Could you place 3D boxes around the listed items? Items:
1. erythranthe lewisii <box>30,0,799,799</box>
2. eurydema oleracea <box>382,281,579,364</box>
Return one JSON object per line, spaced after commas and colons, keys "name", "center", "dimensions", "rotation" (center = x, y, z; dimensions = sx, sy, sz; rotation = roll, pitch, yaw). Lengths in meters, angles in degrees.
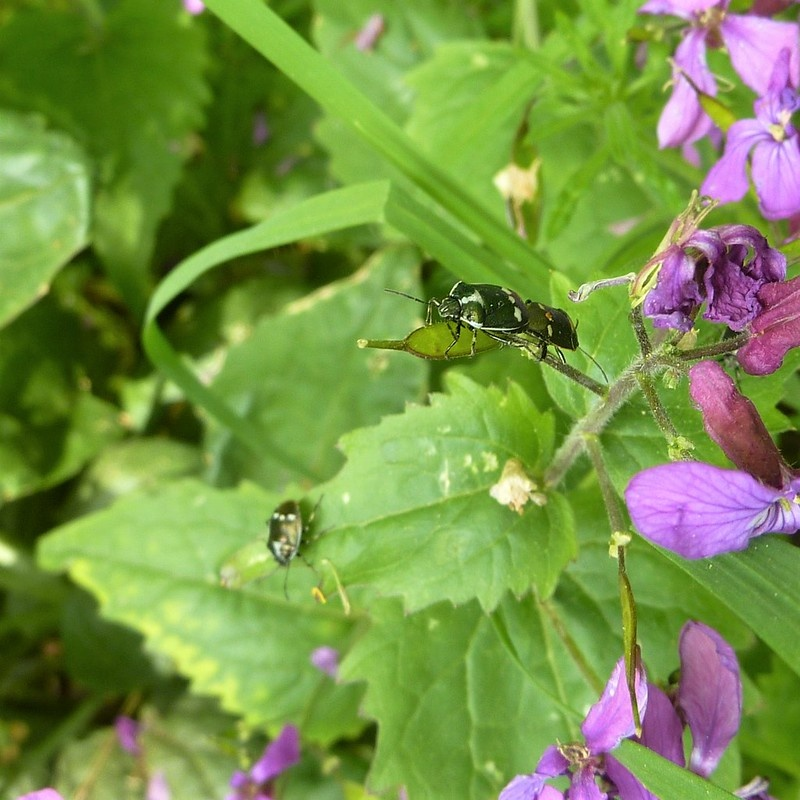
{"name": "erythranthe lewisii", "center": [-0.010, 0.007, 1.796], "dimensions": [1.229, 0.231, 1.450], "rotation": [-3, 73, 21]}
{"name": "eurydema oleracea", "center": [0.163, -0.095, 1.464], "dimensions": [0.196, 0.072, 0.149], "rotation": [10, 40, -25]}
